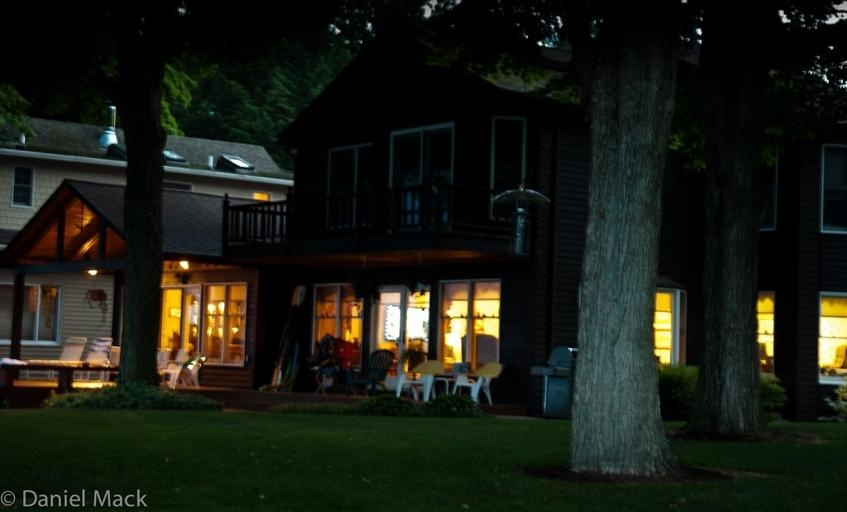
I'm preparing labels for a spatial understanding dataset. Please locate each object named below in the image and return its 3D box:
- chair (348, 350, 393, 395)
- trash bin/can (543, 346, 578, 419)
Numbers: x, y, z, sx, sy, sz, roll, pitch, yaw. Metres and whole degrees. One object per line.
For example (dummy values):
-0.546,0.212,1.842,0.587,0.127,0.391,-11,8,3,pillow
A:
-1.414,3.111,27.612,1.075,1.202,2.447,3,-13,-5,chair
3.275,3.040,24.978,0.616,1.673,1.029,2,-13,-2,trash bin/can
